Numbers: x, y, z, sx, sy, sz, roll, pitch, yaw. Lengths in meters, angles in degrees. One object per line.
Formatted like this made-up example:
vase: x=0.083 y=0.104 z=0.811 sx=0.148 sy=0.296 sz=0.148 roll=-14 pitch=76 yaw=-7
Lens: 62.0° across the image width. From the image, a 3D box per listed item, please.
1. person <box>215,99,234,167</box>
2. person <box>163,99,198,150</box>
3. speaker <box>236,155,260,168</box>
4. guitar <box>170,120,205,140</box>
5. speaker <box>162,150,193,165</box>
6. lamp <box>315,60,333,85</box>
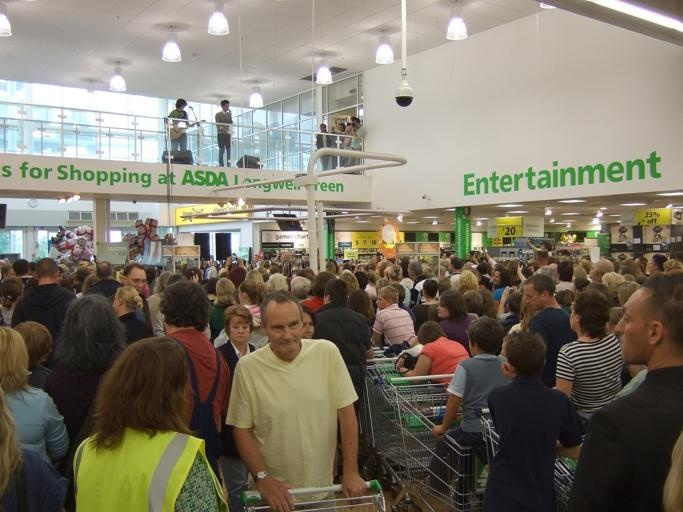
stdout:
person: x=-3.091 y=-3.181 z=14.849 sx=0.382 sy=1.730 sz=0.725 roll=-1 pitch=0 yaw=-6
person: x=-4.012 y=-3.182 z=13.968 sx=0.554 sy=1.419 sz=0.191 roll=0 pitch=3 yaw=3
speaker: x=-2.504 y=-2.522 z=15.323 sx=0.556 sy=0.330 sz=0.405 roll=13 pitch=12 yaw=-12
guitar: x=-3.858 y=-3.197 z=14.107 sx=0.756 sy=0.120 sz=0.333 roll=-25 pitch=41 yaw=-31
speaker: x=-4.147 y=-2.513 z=14.315 sx=0.782 sy=0.378 sz=0.288 roll=-1 pitch=0 yaw=-17
lamp: x=-0.470 y=-4.687 z=14.511 sx=0.328 sy=0.477 sz=0.648 roll=-1 pitch=0 yaw=-7
